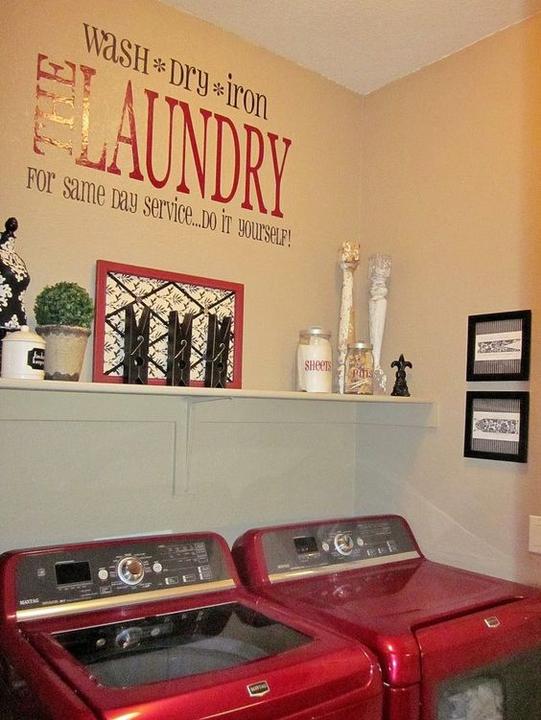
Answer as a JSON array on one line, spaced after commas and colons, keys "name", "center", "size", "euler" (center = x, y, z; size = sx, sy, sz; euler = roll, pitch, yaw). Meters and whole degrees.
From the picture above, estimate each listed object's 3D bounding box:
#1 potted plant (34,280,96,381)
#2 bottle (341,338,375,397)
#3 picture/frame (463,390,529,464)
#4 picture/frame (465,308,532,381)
[{"name": "potted plant", "center": [-0.477, -0.067, 1.232], "size": [0.127, 0.232, 0.091], "euler": [5, -6, -9]}, {"name": "bottle", "center": [0.290, 0.030, 1.770], "size": [0.093, 0.179, 0.152], "euler": [3, -6, 7]}, {"name": "picture/frame", "center": [0.687, 0.203, 1.629], "size": [0.018, 0.263, 0.234], "euler": [8, -6, -31]}, {"name": "picture/frame", "center": [0.704, -0.045, 1.650], "size": [0.019, 0.241, 0.214], "euler": [9, -9, -30]}]
